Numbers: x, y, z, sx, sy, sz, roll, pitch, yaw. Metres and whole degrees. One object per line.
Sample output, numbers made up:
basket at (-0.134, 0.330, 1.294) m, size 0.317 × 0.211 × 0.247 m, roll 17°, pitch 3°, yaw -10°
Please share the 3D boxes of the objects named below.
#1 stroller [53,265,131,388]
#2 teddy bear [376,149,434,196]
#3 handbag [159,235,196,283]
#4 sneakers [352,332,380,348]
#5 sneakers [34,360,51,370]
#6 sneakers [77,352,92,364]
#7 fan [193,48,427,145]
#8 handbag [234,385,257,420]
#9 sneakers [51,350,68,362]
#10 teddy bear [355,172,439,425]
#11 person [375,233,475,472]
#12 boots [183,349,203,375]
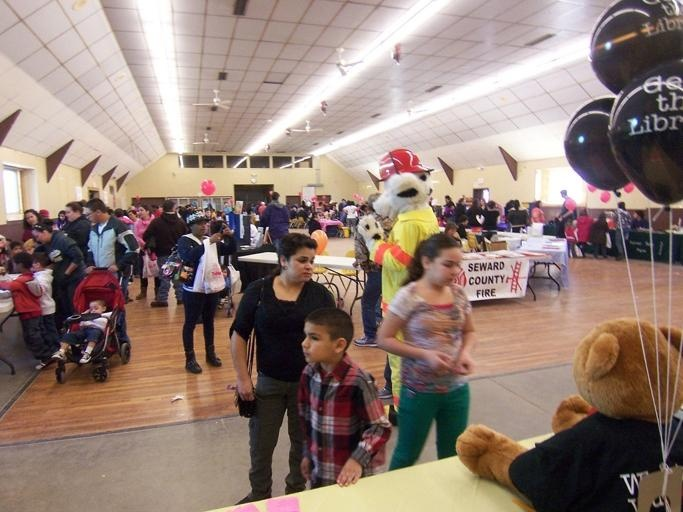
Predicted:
stroller at (-2.524, 0.647, 4.490) m, size 0.566 × 0.999 × 0.792 m, roll 3°, pitch 2°, yaw -11°
teddy bear at (0.367, -0.625, 3.182) m, size 0.367 × 0.248 × 0.469 m, roll -17°, pitch 1°, yaw 23°
handbag at (-1.645, 0.047, 4.539) m, size 0.264 × 0.453 × 0.471 m, roll 15°, pitch -4°, yaw -40°
sneakers at (0.278, 0.974, 5.147) m, size 0.406 × 0.174 × 0.150 m, roll 3°, pitch 1°, yaw 2°
sneakers at (-3.157, 1.157, 4.709) m, size 0.141 × 0.100 × 0.047 m, roll -17°, pitch 33°, yaw -35°
sneakers at (-2.488, 1.000, 4.307) m, size 0.064 × 0.065 × 0.151 m, roll 0°, pitch -2°, yaw -10°
fan at (-0.837, -5.040, 13.356) m, size 3.499 × 0.544 × 3.607 m, roll 2°, pitch -20°, yaw -30°
handbag at (-0.525, 0.819, 2.531) m, size 0.126 × 0.209 × 0.159 m, roll 1°, pitch 7°, yaw -2°
sneakers at (-2.724, 0.956, 4.271) m, size 0.080 × 0.094 × 0.203 m, roll 1°, pitch -8°, yaw -2°
teddy bear at (0.408, 0.208, 3.099) m, size 0.603 × 1.608 × 0.541 m, roll 5°, pitch 13°, yaw 20°
person at (0.429, 0.631, 2.226) m, size 0.502 × 1.495 × 0.491 m, roll 1°, pitch 6°, yaw 4°
boots at (-1.498, 1.085, 4.583) m, size 0.113 × 0.210 × 0.295 m, roll 1°, pitch 0°, yaw -34°
